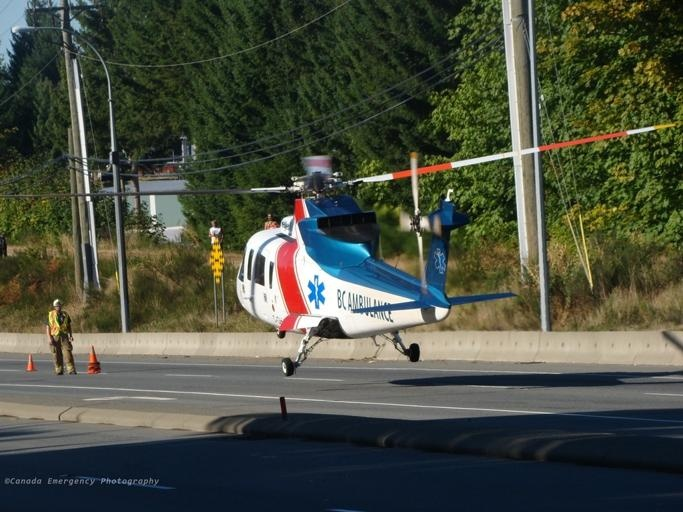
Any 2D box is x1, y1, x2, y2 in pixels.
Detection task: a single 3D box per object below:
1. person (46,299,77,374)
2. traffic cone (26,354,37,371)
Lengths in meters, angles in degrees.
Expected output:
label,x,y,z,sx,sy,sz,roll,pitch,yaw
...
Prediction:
label,x,y,z,sx,sy,sz,roll,pitch,yaw
person,-10.634,2.962,60.567,1.027,2.789,1.345,0,0,-19
traffic cone,-12.418,4.201,63.725,0.485,0.734,0.524,1,-6,-32
